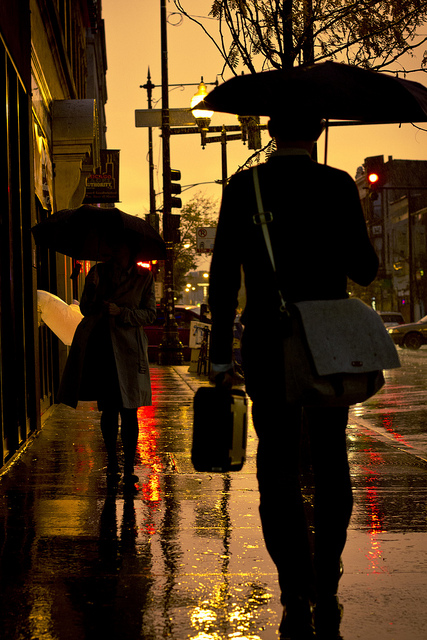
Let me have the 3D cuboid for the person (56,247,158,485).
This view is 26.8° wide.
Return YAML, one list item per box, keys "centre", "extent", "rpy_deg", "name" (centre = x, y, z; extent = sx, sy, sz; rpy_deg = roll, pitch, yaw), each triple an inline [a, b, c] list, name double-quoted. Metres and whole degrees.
- centre: [-0.715, 0.330, 6.320]
  extent: [0.815, 1.555, 0.476]
  rpy_deg: [-13, -2, -4]
  name: "person"

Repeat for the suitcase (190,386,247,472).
- centre: [-0.001, 0.408, 3.123]
  extent: [0.197, 0.302, 0.193]
  rpy_deg: [12, -29, -23]
  name: "suitcase"

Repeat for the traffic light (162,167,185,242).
- centre: [-1.247, -3.387, 26.910]
  extent: [0.543, 2.289, 0.345]
  rpy_deg: [-4, -18, 8]
  name: "traffic light"

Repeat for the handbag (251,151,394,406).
- centre: [0.389, -0.148, 3.037]
  extent: [0.381, 0.857, 0.301]
  rpy_deg: [-12, -2, -13]
  name: "handbag"

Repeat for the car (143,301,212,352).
- centre: [-0.870, 0.225, 28.055]
  extent: [2.541, 1.234, 1.248]
  rpy_deg: [-3, 5, 1]
  name: "car"
